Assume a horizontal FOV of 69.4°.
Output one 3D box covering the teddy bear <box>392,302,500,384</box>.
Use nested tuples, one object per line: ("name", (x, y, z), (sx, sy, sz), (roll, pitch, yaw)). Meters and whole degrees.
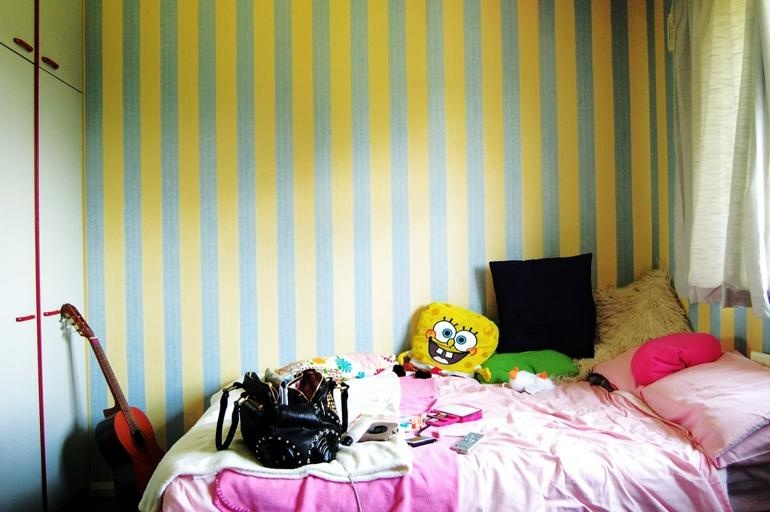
("teddy bear", (0.431, 0.573, 3.879), (0.687, 0.525, 0.392), (16, 9, 4))

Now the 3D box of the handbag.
("handbag", (-0.514, 0.770, 2.891), (0.504, 0.351, 0.513), (-5, -8, 44))

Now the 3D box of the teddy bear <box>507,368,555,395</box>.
("teddy bear", (0.922, 0.788, 3.513), (0.209, 0.106, 0.156), (1, -2, 7))
